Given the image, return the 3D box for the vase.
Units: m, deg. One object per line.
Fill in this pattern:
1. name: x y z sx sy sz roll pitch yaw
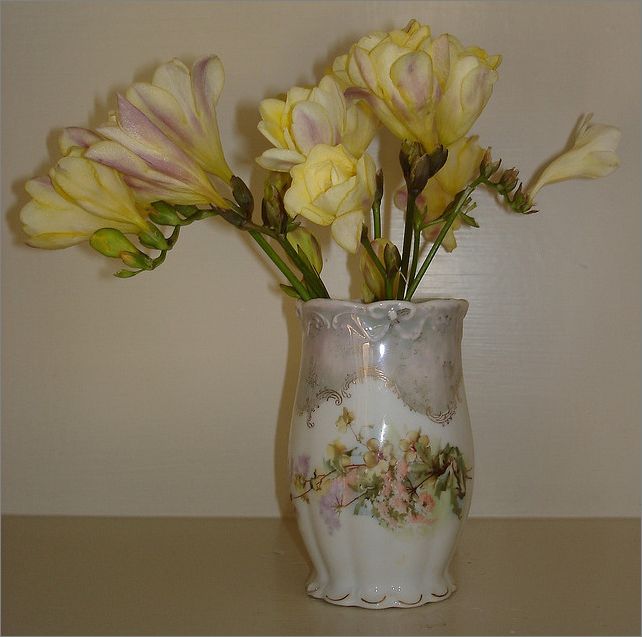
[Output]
1. vase: 0.054 0.116 0.708 0.158 0.273 0.154 0 -1 -35

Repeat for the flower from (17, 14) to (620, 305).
1. flower: -0.006 -0.153 0.734 0.490 0.322 0.267 -13 11 -22
